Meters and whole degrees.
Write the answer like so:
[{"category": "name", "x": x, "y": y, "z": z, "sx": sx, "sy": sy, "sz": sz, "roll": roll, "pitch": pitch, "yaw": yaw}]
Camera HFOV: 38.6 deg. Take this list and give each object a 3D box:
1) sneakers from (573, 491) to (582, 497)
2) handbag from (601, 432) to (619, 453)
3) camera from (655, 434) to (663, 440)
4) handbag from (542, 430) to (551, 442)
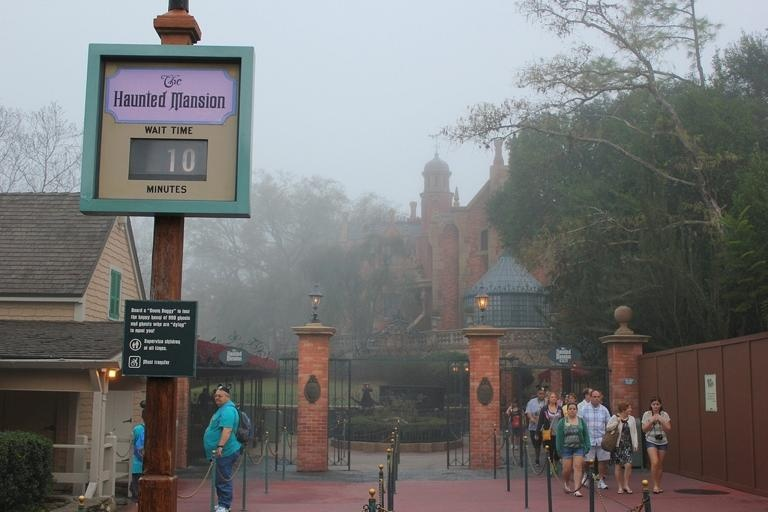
[{"category": "sneakers", "x": 5.306, "y": 6.491, "z": 29.873, "sx": 0.262, "sy": 0.143, "sz": 0.241, "roll": 0, "pitch": -10, "yaw": -4}, {"category": "handbag", "x": 6.234, "y": 5.120, "z": 30.122, "sx": 0.441, "sy": 0.610, "sz": 0.277, "roll": 4, "pitch": -23, "yaw": 19}, {"category": "camera", "x": 7.564, "y": 4.982, "z": 30.112, "sx": 0.182, "sy": 0.145, "sz": 0.042, "roll": -1, "pitch": -9, "yaw": -1}, {"category": "handbag", "x": 4.705, "y": 5.213, "z": 31.701, "sx": 0.332, "sy": 0.338, "sz": 0.171, "roll": -3, "pitch": -21, "yaw": -2}]
